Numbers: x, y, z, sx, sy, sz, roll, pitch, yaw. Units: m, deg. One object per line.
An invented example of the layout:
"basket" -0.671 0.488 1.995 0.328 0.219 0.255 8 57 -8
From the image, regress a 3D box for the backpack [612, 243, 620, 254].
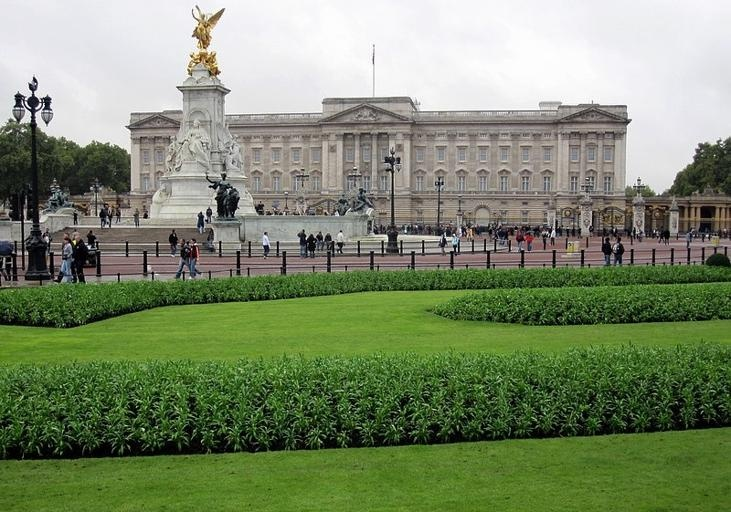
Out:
"backpack" 9.060 -0.258 40.091 0.205 0.376 0.287 22 -19 -24
